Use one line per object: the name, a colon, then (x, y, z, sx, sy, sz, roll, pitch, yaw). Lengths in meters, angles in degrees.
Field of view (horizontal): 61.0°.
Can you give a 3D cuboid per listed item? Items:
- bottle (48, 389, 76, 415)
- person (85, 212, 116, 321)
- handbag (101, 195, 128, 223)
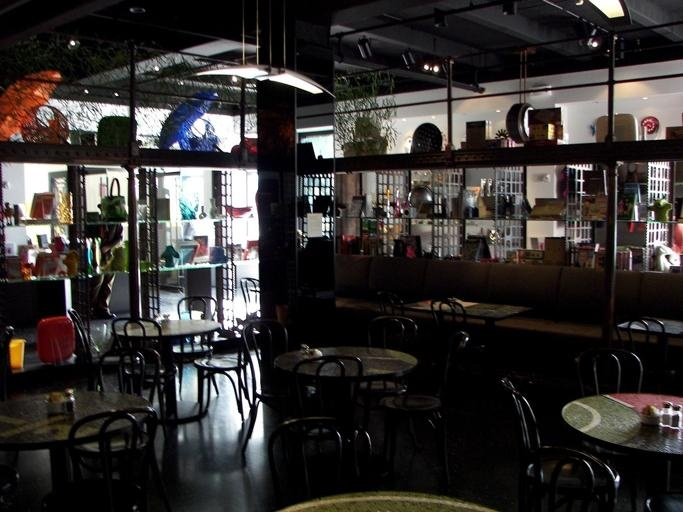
bottle: (-2.061, 1.079, 4.343, 0.204, 0.200, 0.151, 1, -2, 3)
person: (-3.226, 0.082, 7.943, 0.431, 1.495, 0.405, 5, 2, -8)
handbag: (-2.948, -0.605, 7.519, 0.360, 0.360, 0.295, -4, 0, -14)
